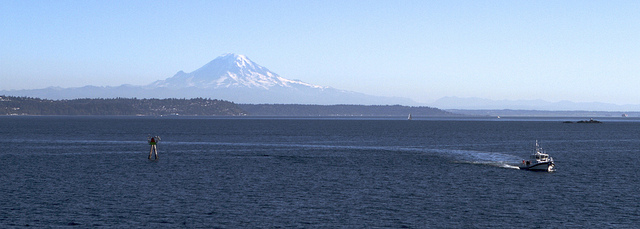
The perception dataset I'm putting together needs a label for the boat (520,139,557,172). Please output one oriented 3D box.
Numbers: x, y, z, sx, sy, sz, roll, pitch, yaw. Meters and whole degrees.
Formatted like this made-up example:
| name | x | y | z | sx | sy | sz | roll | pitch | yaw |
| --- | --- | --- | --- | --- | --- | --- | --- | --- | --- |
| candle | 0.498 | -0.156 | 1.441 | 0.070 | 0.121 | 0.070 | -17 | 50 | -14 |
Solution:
| name | x | y | z | sx | sy | sz | roll | pitch | yaw |
| --- | --- | --- | --- | --- | --- | --- | --- | --- | --- |
| boat | 62.972 | 13.206 | 195.784 | 8.766 | 5.428 | 5.022 | 1 | 1 | 13 |
